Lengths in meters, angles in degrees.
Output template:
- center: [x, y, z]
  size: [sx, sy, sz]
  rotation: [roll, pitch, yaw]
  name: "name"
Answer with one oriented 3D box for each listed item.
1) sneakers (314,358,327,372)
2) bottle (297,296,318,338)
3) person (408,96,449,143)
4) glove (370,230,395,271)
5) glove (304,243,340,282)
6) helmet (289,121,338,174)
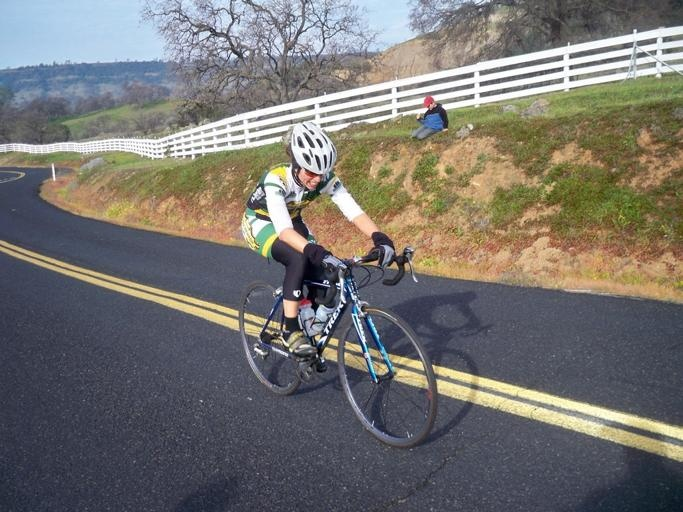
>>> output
- center: [-0.223, 1.308, 7.029]
  size: [0.106, 0.194, 0.164]
  rotation: [-2, 9, -35]
  name: "sneakers"
- center: [-0.414, 0.732, 7.049]
  size: [0.157, 0.575, 0.220]
  rotation: [-11, -13, -24]
  name: "bottle"
- center: [2.386, -3.768, 15.871]
  size: [0.780, 1.333, 0.670]
  rotation: [-3, 43, 4]
  name: "person"
- center: [0.483, -0.065, 6.673]
  size: [0.227, 0.277, 0.485]
  rotation: [-10, 27, 2]
  name: "glove"
- center: [-0.194, 0.064, 6.621]
  size: [0.199, 0.305, 0.465]
  rotation: [-41, 58, -14]
  name: "glove"
- center: [-0.325, -1.204, 6.680]
  size: [0.399, 0.253, 0.668]
  rotation: [-15, 68, -34]
  name: "helmet"
